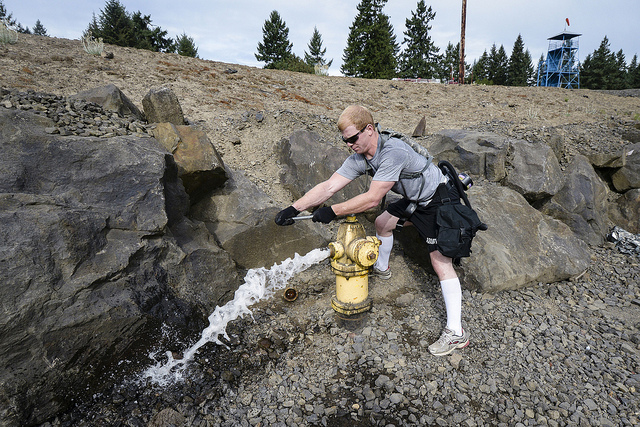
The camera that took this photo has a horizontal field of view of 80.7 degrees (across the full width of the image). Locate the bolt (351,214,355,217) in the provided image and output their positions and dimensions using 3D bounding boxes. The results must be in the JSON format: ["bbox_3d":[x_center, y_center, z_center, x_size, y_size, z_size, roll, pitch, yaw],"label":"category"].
[{"bbox_3d":[0.451,0.027,5.137,0.029,0.030,0.023,-19,5,-1],"label":"bolt"}]

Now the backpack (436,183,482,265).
[{"bbox_3d":[1.824,0.199,4.983,0.297,0.828,0.536,6,25,39],"label":"backpack"}]

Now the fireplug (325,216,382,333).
[{"bbox_3d":[0.461,0.866,5.291,0.691,1.641,0.450,1,23,5],"label":"fireplug"}]

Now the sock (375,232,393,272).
[{"bbox_3d":[1.018,0.617,6.052,0.286,0.782,0.223,11,41,5],"label":"sock"}]
